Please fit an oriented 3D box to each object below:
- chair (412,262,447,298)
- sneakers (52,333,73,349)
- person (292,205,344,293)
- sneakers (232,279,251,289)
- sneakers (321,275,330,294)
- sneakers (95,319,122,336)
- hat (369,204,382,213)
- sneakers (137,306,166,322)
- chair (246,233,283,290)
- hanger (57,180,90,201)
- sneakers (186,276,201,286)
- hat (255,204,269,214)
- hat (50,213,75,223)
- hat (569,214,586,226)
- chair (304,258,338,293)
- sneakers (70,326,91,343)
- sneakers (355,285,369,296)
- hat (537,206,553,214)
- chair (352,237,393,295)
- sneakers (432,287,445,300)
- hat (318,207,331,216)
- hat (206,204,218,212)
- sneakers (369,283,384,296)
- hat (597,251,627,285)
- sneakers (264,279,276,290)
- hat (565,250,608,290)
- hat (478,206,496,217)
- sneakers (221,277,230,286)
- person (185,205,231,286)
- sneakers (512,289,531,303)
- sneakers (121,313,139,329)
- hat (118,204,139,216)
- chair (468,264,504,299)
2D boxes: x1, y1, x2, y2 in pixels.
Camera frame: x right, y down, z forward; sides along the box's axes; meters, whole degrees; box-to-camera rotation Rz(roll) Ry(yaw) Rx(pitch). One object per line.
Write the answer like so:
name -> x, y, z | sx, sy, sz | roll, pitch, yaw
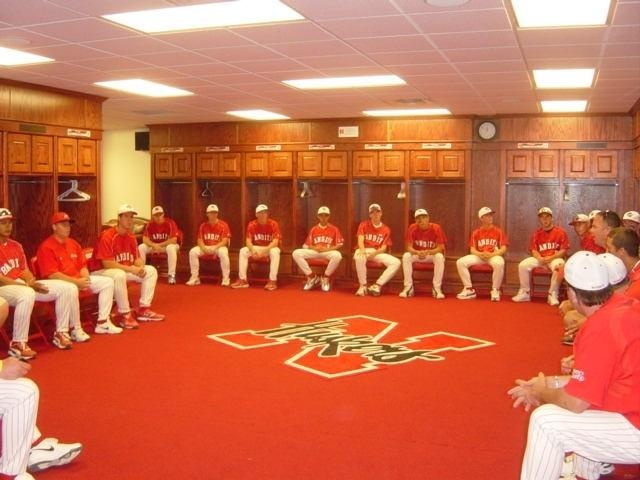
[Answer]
chair -> 1.894, 0.606, 8.687 | 0.624, 0.756, 0.549 | 1, 5, 13
sneakers -> -2.888, 1.130, 5.496 | 0.291, 0.131, 0.116 | 4, 3, 40
person -> -0.023, 0.137, 9.325 | 1.024, 1.477, 0.844 | 1, 4, 1
sneakers -> -1.514, 0.849, 9.404 | 0.350, 0.147, 0.131 | 2, -4, -29
sneakers -> 0.099, 0.810, 8.989 | 0.141, 0.243, 0.221 | 0, 4, -1
sneakers -> -2.671, 1.097, 6.123 | 0.395, 0.202, 0.146 | 2, 5, -8
hat -> 1.010, -0.596, 9.092 | 0.180, 0.123, 0.247 | -7, -18, 4
sneakers -> -2.290, 1.027, 6.868 | 0.495, 0.210, 0.162 | 0, 3, -4
chair -> -1.017, 0.429, 9.411 | 0.574, 0.904, 0.999 | -2, 5, -28
hanger -> -3.842, -0.765, 7.591 | 0.363, 0.229, 0.189 | 2, 13, 5
sneakers -> -2.495, 0.793, 9.598 | 0.276, 0.142, 0.334 | -1, 5, -14
hat -> -1.155, -0.656, 9.700 | 0.240, 0.164, 0.323 | -2, -10, -12
hat -> -3.188, -0.274, 5.940 | 0.290, 0.140, 0.196 | 0, 7, 5
hat -> 4.342, -0.344, 8.251 | 0.359, 0.163, 0.244 | 2, -4, 3
chair -> 0.003, 0.618, 9.117 | 0.626, 0.600, 0.485 | 2, 5, 20
sneakers -> -2.837, 1.113, 5.809 | 0.233, 0.120, 0.137 | 3, 8, 19
sneakers -> 0.737, 0.887, 8.712 | 0.213, 0.149, 0.300 | 1, 5, 3
hat -> 4.048, -0.545, 8.771 | 0.200, 0.089, 0.284 | -2, -4, 27
chair -> 1.014, 0.438, 8.809 | 0.802, 1.022, 0.634 | 1, 4, 3
sneakers -> 2.069, 0.920, 8.518 | 0.197, 0.158, 0.248 | 1, 5, 9
hat -> 0.077, -0.564, 9.507 | 0.239, 0.120, 0.354 | 5, 2, 2
hat -> -2.162, -0.677, 9.840 | 0.221, 0.153, 0.303 | 2, -6, -17
sneakers -> 0.943, 0.872, 8.632 | 0.220, 0.193, 0.186 | 2, 5, 23
hat -> 1.644, 0.157, 2.747 | 0.124, 0.087, 0.167 | -26, 49, -8
sneakers -> -0.948, 0.835, 9.207 | 0.163, 0.133, 0.346 | -1, -5, 6
hat -> 1.331, 0.153, 2.498 | 0.174, 0.112, 0.219 | -12, 33, -6
hat -> 2.951, -0.481, 8.714 | 0.197, 0.130, 0.270 | -23, 10, -35
sneakers -> -1.818, 0.802, 9.459 | 0.132, 0.153, 0.172 | 7, 9, 3
person -> -2.252, 0.082, 9.762 | 0.848, 1.536, 1.172 | -1, 5, -15
sneakers -> 3.396, 0.961, 8.316 | 0.361, 0.191, 0.160 | 0, 0, -9
sneakers -> -2.486, 1.054, 6.379 | 0.130, 0.131, 0.323 | -1, 1, -38
hat -> -2.695, -0.439, 6.752 | 0.209, 0.142, 0.294 | 1, -5, -41
chair -> 2.963, 0.719, 8.371 | 0.545, 0.627, 0.589 | -2, -9, 36
